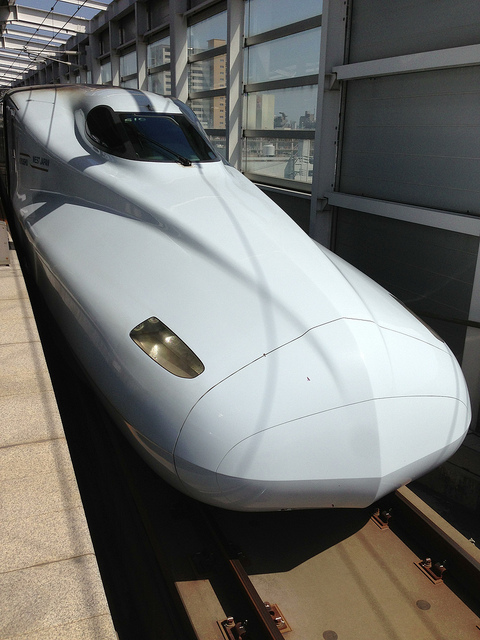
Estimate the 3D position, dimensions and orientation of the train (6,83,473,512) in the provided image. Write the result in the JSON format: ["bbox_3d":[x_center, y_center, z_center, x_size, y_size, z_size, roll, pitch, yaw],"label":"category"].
[{"bbox_3d":[-0.887,-0.657,4.616,2.000,2.027,6.398,-8,32,-21],"label":"train"}]
